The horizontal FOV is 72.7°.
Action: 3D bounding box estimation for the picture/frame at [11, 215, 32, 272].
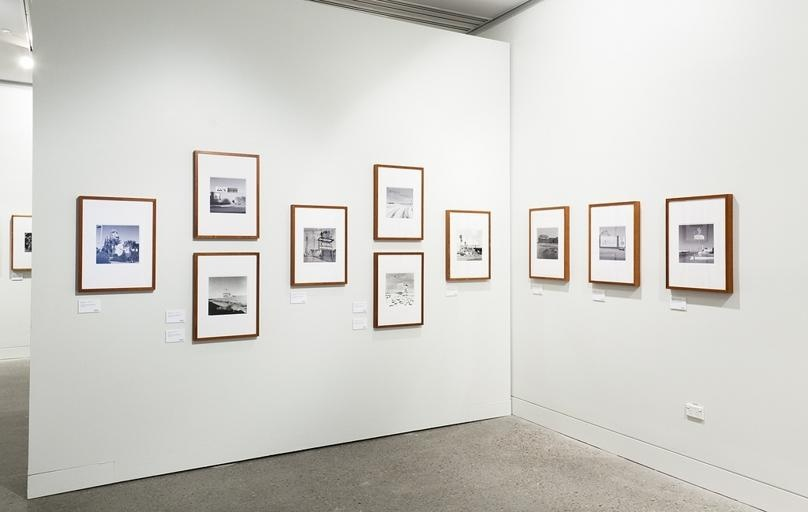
[{"bbox_3d":[-6.906,-0.233,9.763,0.293,1.038,0.134,0,1,-36],"label":"picture/frame"}]
